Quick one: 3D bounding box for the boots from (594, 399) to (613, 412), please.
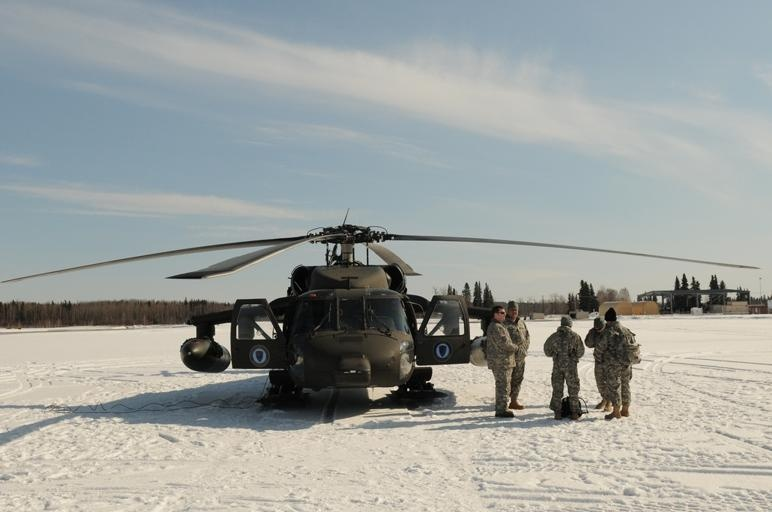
[{"bbox_3d":[4.656,3.156,13.828,0.251,0.347,0.344,-2,40,1],"label":"boots"}]

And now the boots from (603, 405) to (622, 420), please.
[{"bbox_3d":[4.650,3.123,13.090,0.507,0.286,0.252,-1,2,-21],"label":"boots"}]

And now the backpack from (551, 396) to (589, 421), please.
[{"bbox_3d":[3.793,3.121,13.347,0.697,0.517,0.261,2,-4,7],"label":"backpack"}]

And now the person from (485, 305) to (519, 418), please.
[{"bbox_3d":[2.448,2.205,13.700,0.650,2.242,0.750,-1,2,8],"label":"person"}]

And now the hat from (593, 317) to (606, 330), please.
[{"bbox_3d":[4.449,1.404,13.483,0.258,0.203,0.312,-6,1,17],"label":"hat"}]

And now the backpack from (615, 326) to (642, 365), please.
[{"bbox_3d":[4.896,1.828,13.286,0.532,0.719,0.668,6,-2,36],"label":"backpack"}]

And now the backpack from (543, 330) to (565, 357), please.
[{"bbox_3d":[3.469,1.805,13.344,0.275,0.534,0.433,28,1,6],"label":"backpack"}]
